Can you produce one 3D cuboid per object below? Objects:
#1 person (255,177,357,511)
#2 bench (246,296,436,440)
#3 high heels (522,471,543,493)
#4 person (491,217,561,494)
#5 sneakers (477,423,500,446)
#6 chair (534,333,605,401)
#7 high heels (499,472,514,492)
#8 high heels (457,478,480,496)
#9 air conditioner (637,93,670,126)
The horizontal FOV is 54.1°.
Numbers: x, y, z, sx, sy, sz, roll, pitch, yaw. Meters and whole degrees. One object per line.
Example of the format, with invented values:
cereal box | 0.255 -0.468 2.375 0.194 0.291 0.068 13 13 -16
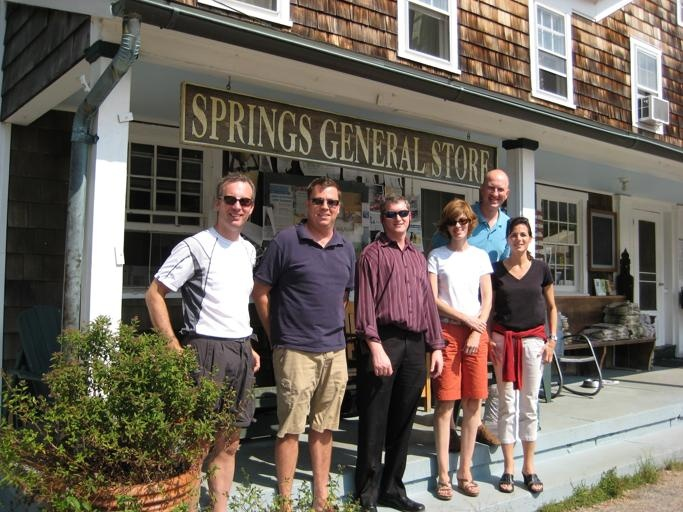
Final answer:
person | -0.290 0.662 5.228 0.779 2.558 0.336 0 -3 -1
bench | 0.051 1.213 7.545 1.389 2.171 1.399 -1 -12 6
high heels | 1.720 2.020 5.986 0.173 0.170 0.170 -1 -3 17
person | 1.653 0.878 6.066 0.627 2.462 0.349 1 -3 -30
sneakers | 1.386 1.718 6.450 0.297 0.133 0.112 2 -2 42
chair | 3.249 1.533 9.427 0.758 1.031 1.321 0 -5 1
high heels | 1.466 2.003 5.946 0.133 0.151 0.101 0 -3 -1
high heels | 1.107 2.010 5.846 0.101 0.086 0.206 2 -10 -8
air conditioner | 4.805 -2.234 10.315 0.200 0.427 0.583 -3 -3 44
